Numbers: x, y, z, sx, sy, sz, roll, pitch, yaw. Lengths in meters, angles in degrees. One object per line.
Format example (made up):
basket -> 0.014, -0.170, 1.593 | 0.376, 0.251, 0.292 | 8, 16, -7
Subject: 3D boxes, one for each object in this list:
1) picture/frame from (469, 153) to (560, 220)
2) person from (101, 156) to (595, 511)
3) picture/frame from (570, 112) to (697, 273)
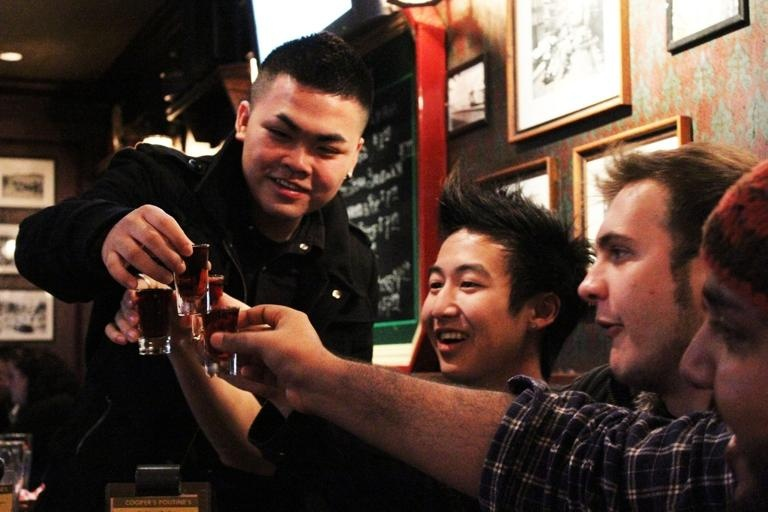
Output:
picture/frame -> 0.683, -0.350, 3.393 | 0.060, 0.291, 0.465 | 10, -9, -43
person -> -0.178, 0.298, 2.702 | 1.491, 0.760, 1.497 | 25, 38, 32
picture/frame -> 1.028, -0.262, 2.728 | 0.067, 0.622, 0.793 | 2, -6, -23
